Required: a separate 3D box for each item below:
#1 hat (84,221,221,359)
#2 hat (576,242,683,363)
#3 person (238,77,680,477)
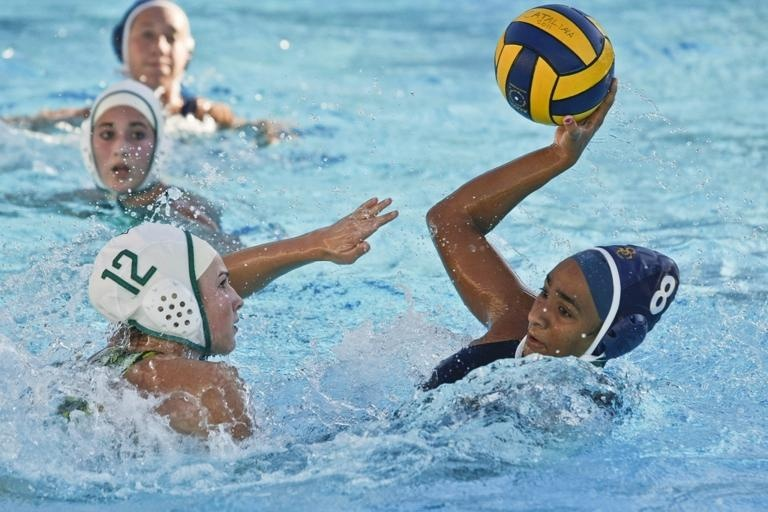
[{"bbox_3d":[-1.151,0.166,4.190,0.597,0.592,0.324,3,28,-13],"label":"hat"},{"bbox_3d":[1.217,0.250,4.364,0.554,0.570,0.281,4,28,-11],"label":"hat"},{"bbox_3d":[0.836,0.321,4.777,1.620,2.353,0.877,37,14,-14],"label":"person"}]
